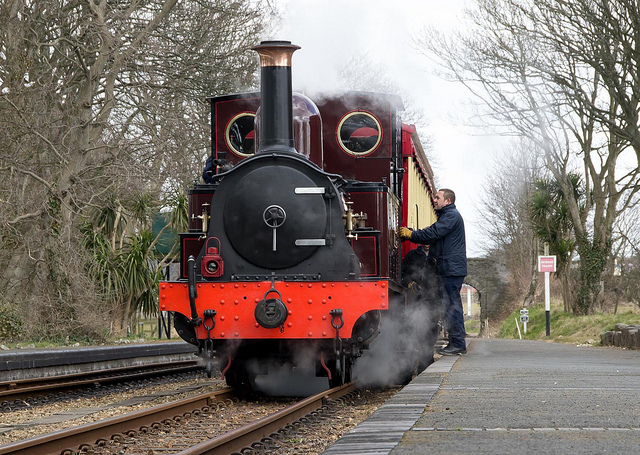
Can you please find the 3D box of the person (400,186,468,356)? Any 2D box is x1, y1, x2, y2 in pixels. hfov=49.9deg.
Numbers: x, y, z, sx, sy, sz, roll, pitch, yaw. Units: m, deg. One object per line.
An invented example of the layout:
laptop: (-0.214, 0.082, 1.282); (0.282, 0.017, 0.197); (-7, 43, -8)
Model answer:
person: (1.817, 0.715, 11.221); (1.134, 2.680, 0.954); (1, -1, 1)

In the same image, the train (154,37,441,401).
train: (-0.345, -0.012, 9.954); (3.422, 4.866, 2.432); (-2, -6, 2)
